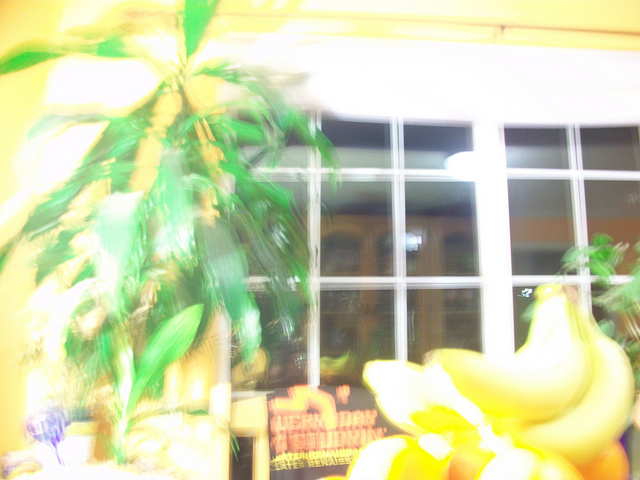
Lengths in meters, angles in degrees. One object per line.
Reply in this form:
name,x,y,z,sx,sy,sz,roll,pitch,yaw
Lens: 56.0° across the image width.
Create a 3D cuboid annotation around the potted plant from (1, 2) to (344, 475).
potted plant,-0.535,0.099,2.795,1.266,2.144,1.236,11,-7,-16
